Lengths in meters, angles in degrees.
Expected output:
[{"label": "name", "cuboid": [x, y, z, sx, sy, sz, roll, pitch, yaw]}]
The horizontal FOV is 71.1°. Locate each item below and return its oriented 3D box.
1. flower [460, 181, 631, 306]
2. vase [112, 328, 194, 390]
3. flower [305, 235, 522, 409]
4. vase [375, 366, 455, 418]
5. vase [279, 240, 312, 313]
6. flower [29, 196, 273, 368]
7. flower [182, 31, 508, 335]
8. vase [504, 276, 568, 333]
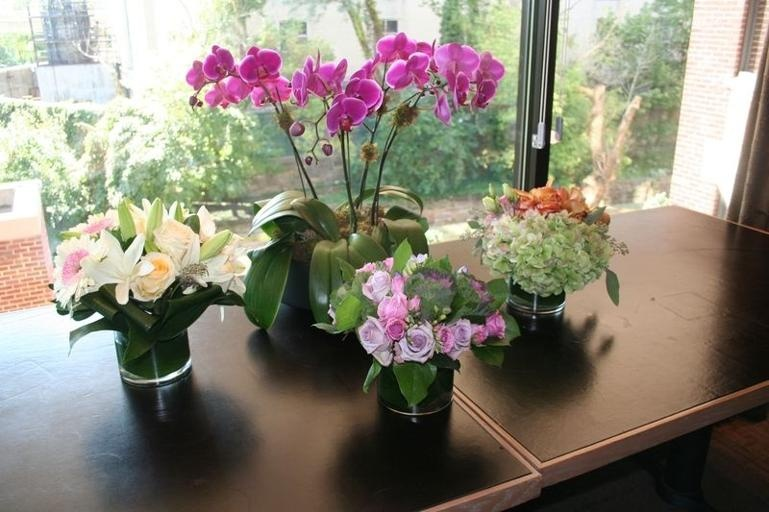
[{"label": "flower", "cuboid": [0.493, -0.006, 1.674, 0.484, 0.358, 0.398, 14, 27, 27]}, {"label": "vase", "cuboid": [-0.600, 0.258, 1.390, 0.157, 0.157, 0.126, -2, 57, 15]}, {"label": "flower", "cuboid": [0.087, 0.212, 1.238, 0.378, 0.296, 0.364, -2, 28, 4]}, {"label": "vase", "cuboid": [0.055, 0.314, 1.313, 0.155, 0.092, 0.153, 3, -9, -21]}, {"label": "vase", "cuboid": [-0.259, 0.064, 1.655, 0.153, 0.167, 0.172, 3, 28, -5]}, {"label": "flower", "cuboid": [-0.629, 0.112, 1.385, 0.553, 0.405, 0.500, -3, 0, 4]}, {"label": "flower", "cuboid": [-0.091, -0.210, 1.632, 0.887, 0.861, 0.562, -3, 10, 18]}, {"label": "vase", "cuboid": [0.457, 0.149, 1.632, 0.145, 0.154, 0.151, 2, 17, 3]}]
